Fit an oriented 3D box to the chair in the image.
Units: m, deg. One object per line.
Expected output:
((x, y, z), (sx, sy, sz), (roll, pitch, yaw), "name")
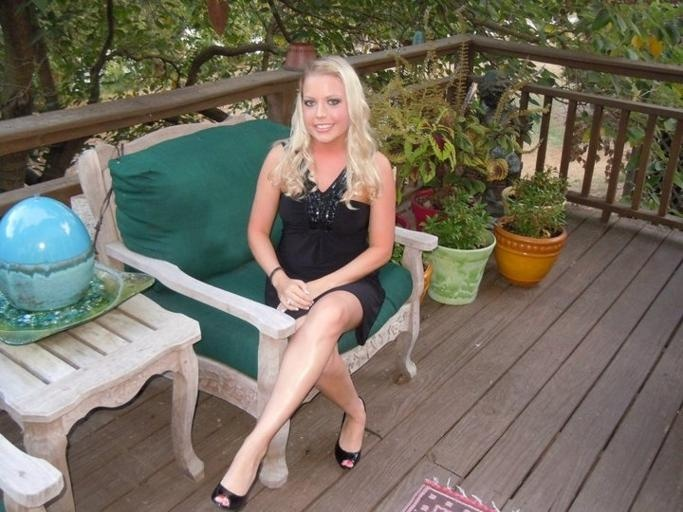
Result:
((-0.343, 0.054, 2.512), (1.221, 1.225, 1.365), (16, 23, 22), "chair")

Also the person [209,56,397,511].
((-0.151, -0.088, 1.923), (0.636, 1.053, 1.082), (4, 34, 10), "person")
